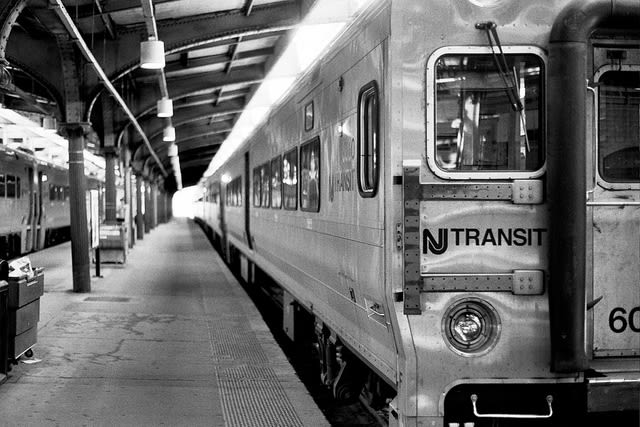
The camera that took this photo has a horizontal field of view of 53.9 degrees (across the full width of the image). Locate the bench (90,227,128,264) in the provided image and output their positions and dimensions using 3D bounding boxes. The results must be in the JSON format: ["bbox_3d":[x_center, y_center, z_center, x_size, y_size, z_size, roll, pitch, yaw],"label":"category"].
[{"bbox_3d":[-6.436,0.934,19.407,1.015,1.461,1.016,-5,-18,-10],"label":"bench"}]
